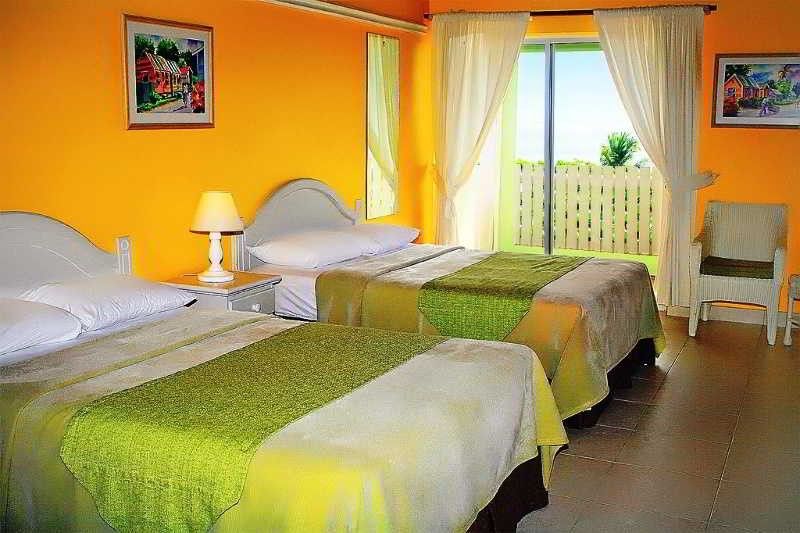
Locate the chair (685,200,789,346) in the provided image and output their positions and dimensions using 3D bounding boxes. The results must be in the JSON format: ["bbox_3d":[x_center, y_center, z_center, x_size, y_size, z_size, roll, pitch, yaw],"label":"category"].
[{"bbox_3d":[3.796,-0.030,5.967,1.147,1.307,1.206,-2,12,10],"label":"chair"}]

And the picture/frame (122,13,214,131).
[{"bbox_3d":[-1.805,-1.528,4.228,0.924,0.799,0.039,9,14,20],"label":"picture/frame"}]

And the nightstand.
[{"bbox_3d":[-1.463,0.299,4.403,0.725,0.442,0.669,6,11,25],"label":"nightstand"}]
